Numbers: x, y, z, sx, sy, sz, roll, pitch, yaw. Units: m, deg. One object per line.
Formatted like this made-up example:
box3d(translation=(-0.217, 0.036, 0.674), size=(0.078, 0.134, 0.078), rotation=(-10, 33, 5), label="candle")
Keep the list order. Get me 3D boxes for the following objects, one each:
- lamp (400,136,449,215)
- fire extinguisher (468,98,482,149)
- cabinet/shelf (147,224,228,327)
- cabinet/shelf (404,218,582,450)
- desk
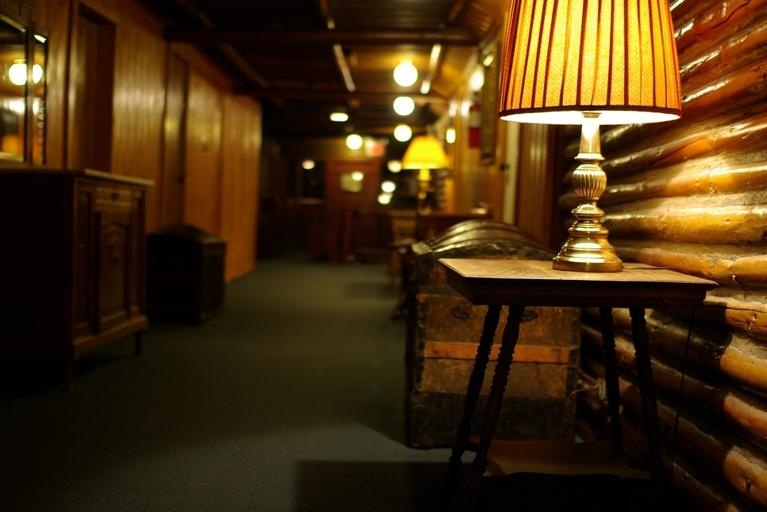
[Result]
box3d(translation=(0.572, -1.167, 7.961), size=(0.607, 1.018, 1.103), rotation=(3, 10, 4), label="lamp")
box3d(translation=(1.255, -1.814, 7.840), size=(0.174, 0.644, 0.474), rotation=(3, 10, 7), label="fire extinguisher")
box3d(translation=(-2.184, 0.203, 6.350), size=(0.633, 0.987, 1.077), rotation=(1, 0, -5), label="cabinet/shelf")
box3d(translation=(0.571, 0.563, 3.855), size=(1.072, 1.148, 1.385), rotation=(3, -7, -4), label="cabinet/shelf")
box3d(translation=(0.724, 0.549, 2.870), size=(1.252, 1.116, 1.198), rotation=(3, 1, 0), label="desk")
